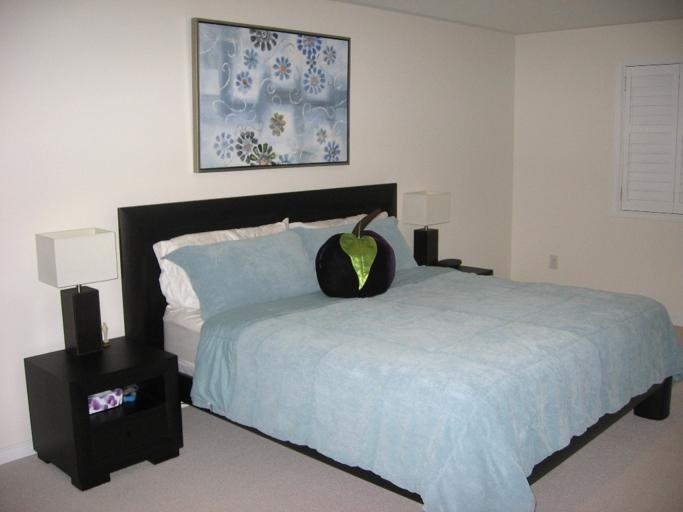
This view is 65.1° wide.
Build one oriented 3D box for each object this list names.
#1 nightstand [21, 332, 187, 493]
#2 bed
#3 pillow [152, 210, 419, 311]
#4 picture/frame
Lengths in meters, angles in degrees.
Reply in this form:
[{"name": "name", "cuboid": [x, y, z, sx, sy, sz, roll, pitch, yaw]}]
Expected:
[{"name": "nightstand", "cuboid": [-1.418, 0.823, 3.240, 0.735, 0.730, 0.718, 5, 10, 43]}, {"name": "bed", "cuboid": [-0.070, 0.031, 3.194, 2.370, 1.281, 2.236, 10, 14, 40]}, {"name": "pillow", "cuboid": [-0.449, 0.047, 3.759, 1.560, 0.476, 0.503, -10, 16, -33]}, {"name": "picture/frame", "cuboid": [-0.565, -1.214, 3.988, 1.276, 0.983, 0.050, -5, 9, -42]}]
